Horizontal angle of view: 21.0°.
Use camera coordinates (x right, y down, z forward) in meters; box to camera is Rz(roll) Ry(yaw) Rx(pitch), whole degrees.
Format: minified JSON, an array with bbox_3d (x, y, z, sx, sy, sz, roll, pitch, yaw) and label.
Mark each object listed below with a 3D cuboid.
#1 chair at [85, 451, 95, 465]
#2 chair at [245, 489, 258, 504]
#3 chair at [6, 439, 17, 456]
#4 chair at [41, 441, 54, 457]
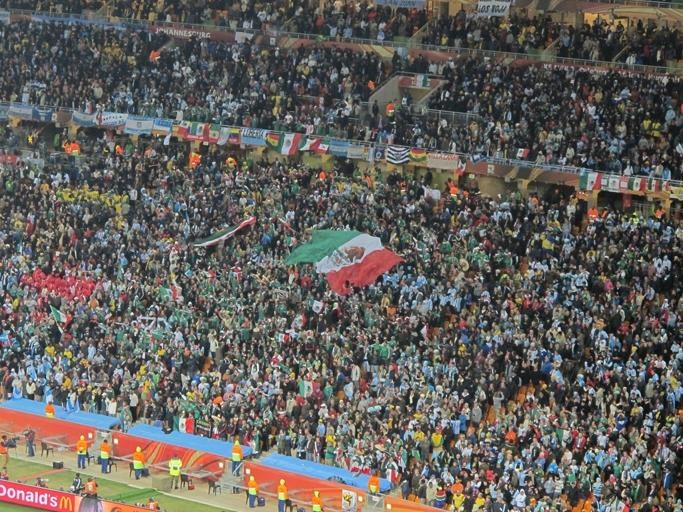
[{"bbox_3d":[-12.572,10.006,92.421,0.523,0.580,0.357,1,15,-16],"label":"chair"},{"bbox_3d":[-4.281,11.582,89.125,0.488,0.772,0.504,4,15,-3],"label":"chair"},{"bbox_3d":[-16.820,9.537,93.377,0.539,0.870,0.525,-9,24,-43],"label":"chair"},{"bbox_3d":[-14.944,9.568,93.082,0.653,0.830,0.583,9,15,14],"label":"chair"}]
